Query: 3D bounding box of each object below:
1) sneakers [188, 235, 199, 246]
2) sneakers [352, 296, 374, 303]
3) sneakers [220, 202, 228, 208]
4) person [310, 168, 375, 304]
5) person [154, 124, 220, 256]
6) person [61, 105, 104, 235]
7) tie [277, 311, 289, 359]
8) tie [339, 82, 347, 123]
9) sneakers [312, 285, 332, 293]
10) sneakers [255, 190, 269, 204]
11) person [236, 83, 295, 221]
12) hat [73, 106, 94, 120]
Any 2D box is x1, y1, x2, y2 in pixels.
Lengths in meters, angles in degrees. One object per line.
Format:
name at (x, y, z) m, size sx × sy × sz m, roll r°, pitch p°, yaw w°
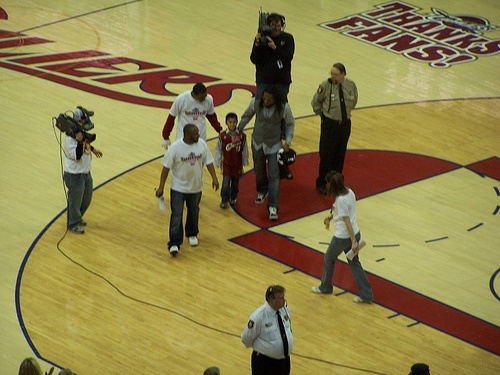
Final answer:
sneakers at (-0.989, 0.903, 13.616) m, size 0.115 × 0.098 × 0.242 m, roll -3°, pitch 14°, yaw -5°
sneakers at (1.831, 1.800, 12.719) m, size 0.342 × 0.152 × 0.113 m, roll 4°, pitch 39°, yaw 12°
sneakers at (-0.478, 0.296, 14.515) m, size 0.109 × 0.094 × 0.157 m, roll -2°, pitch -4°, yaw 1°
person at (1.544, 0.893, 13.219) m, size 1.240 × 2.497 × 0.884 m, roll 16°, pitch 37°, yaw 30°
person at (-1.092, 0.017, 13.290) m, size 1.044 × 2.262 × 0.397 m, roll -6°, pitch 17°, yaw -34°
person at (-2.906, -0.295, 13.563) m, size 0.585 × 2.195 × 0.605 m, roll -4°, pitch 16°, yaw -29°
tie at (0.447, 2.015, 10.710) m, size 0.199 × 0.648 × 0.115 m, roll 5°, pitch 14°, yaw 6°
tie at (1.701, -1.557, 14.375) m, size 0.179 × 0.668 × 0.048 m, roll 2°, pitch 14°, yaw -7°
sneakers at (1.180, 1.646, 12.840) m, size 0.307 × 0.100 × 0.130 m, roll 6°, pitch 20°, yaw 15°
sneakers at (0.227, 0.168, 14.725) m, size 0.186 × 0.200 × 0.500 m, roll 1°, pitch 6°, yaw 11°
person at (0.336, -0.685, 14.267) m, size 0.663 × 2.438 × 0.775 m, roll -6°, pitch 17°, yaw -34°
hat at (-2.885, -1.347, 13.642) m, size 0.301 × 0.206 × 0.692 m, roll 1°, pitch 15°, yaw -11°
